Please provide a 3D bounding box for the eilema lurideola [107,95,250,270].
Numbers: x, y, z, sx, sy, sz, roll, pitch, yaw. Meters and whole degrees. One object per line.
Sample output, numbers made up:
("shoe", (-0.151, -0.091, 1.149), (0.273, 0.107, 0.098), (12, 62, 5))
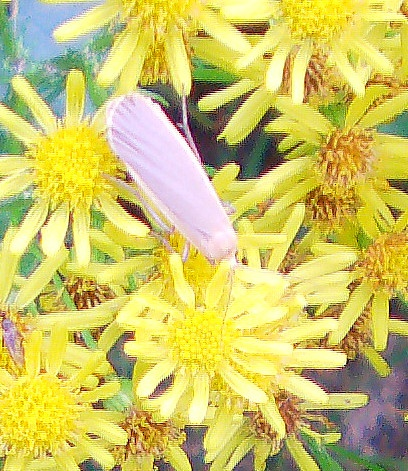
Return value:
("eilema lurideola", (-0.030, -0.044, 0.586), (0.079, 0.047, 0.152), (-30, 96, -10))
